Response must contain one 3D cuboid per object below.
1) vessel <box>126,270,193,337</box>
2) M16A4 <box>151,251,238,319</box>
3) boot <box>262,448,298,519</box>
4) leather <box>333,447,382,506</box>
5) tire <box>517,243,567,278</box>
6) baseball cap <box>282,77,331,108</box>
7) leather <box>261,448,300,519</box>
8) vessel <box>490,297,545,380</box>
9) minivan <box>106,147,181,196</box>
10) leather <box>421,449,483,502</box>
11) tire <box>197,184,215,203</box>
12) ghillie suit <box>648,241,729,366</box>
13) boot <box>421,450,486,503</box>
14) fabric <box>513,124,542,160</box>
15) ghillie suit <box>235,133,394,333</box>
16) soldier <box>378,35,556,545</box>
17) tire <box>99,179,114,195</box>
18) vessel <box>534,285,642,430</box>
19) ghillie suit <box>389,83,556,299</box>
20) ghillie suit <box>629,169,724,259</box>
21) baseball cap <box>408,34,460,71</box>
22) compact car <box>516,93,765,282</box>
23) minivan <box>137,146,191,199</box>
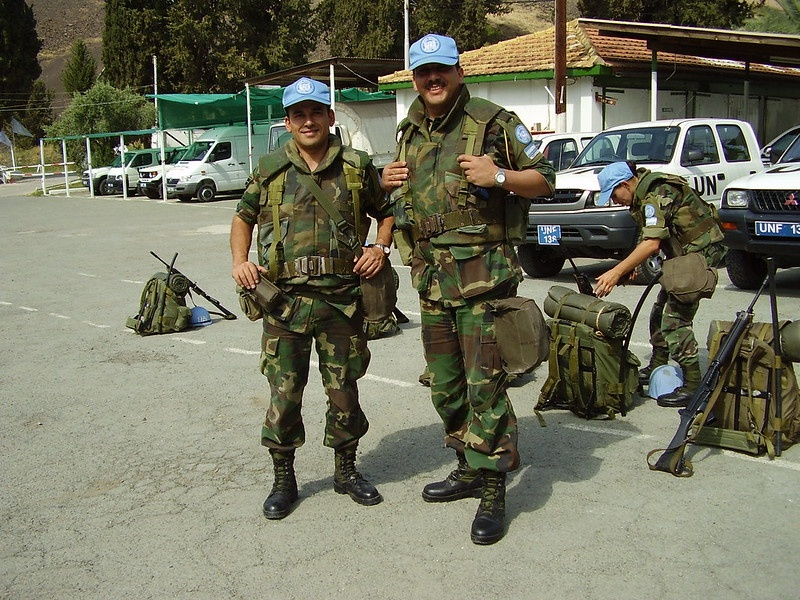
[{"bbox_3d":[-2.791,0.019,7.760,0.748,0.713,0.667,4,-1,38],"label":"vessel"},{"bbox_3d":[-2.784,-0.189,8.967,1.400,0.160,0.328,39,-2,-18],"label":"M16A4"},{"bbox_3d":[-0.696,1.038,3.769,0.164,0.335,0.362,0,9,6],"label":"boot"},{"bbox_3d":[-0.264,1.014,3.871,0.356,0.298,0.150,6,11,42],"label":"leather"},{"bbox_3d":[1.957,-0.575,9.292,0.646,0.624,0.223,-1,-1,-33],"label":"tire"},{"bbox_3d":[-0.519,-1.143,3.642,0.248,0.171,0.217,-4,13,-10],"label":"baseball cap"},{"bbox_3d":[-0.690,1.043,3.766,0.164,0.325,0.351,-1,7,12],"label":"leather"},{"bbox_3d":[0.630,0.180,3.463,0.261,0.387,0.333,-4,13,30],"label":"vessel"},{"bbox_3d":[-11.581,-6.201,32.770,4.114,2.171,2.705,4,2,24],"label":"minivan"},{"bbox_3d":[0.318,1.040,3.978,0.466,0.335,0.178,1,2,-7],"label":"leather"},{"bbox_3d":[-7.770,-4.296,26.432,0.537,0.531,0.240,35,-3,-31],"label":"tire"},{"bbox_3d":[2.281,0.052,5.261,0.368,0.538,1.196,2,-35,19],"label":"ghillie suit"},{"bbox_3d":[0.330,1.044,3.970,0.464,0.328,0.176,1,2,-6],"label":"boot"},{"bbox_3d":[0.655,-0.814,3.477,0.050,0.170,0.181,-24,-29,-3],"label":"fabric"},{"bbox_3d":[-0.490,-0.476,3.839,0.935,0.884,0.479,1,7,3],"label":"ghillie suit"},{"bbox_3d":[0.372,-0.114,3.600,0.631,2.553,0.927,-11,16,-34],"label":"soldier"},{"bbox_3d":[-14.703,-5.704,33.165,0.660,0.636,0.232,-15,27,-31],"label":"tire"},{"bbox_3d":[1.403,0.403,5.035,0.601,0.900,0.824,-10,10,-16],"label":"vessel"},{"bbox_3d":[0.349,-0.573,3.713,1.210,1.100,0.579,2,12,37],"label":"ghillie suit"},{"bbox_3d":[2.139,-0.682,5.148,0.568,0.790,0.770,-13,14,22],"label":"ghillie suit"},{"bbox_3d":[0.176,-1.298,3.453,0.259,0.176,0.177,-2,13,2],"label":"baseball cap"},{"bbox_3d":[3.813,-1.702,10.515,4.320,2.379,2.243,-11,14,-37],"label":"compact car"},{"bbox_3d":[-10.493,-5.885,30.854,2.024,2.032,3.656,5,13,32],"label":"minivan"}]
